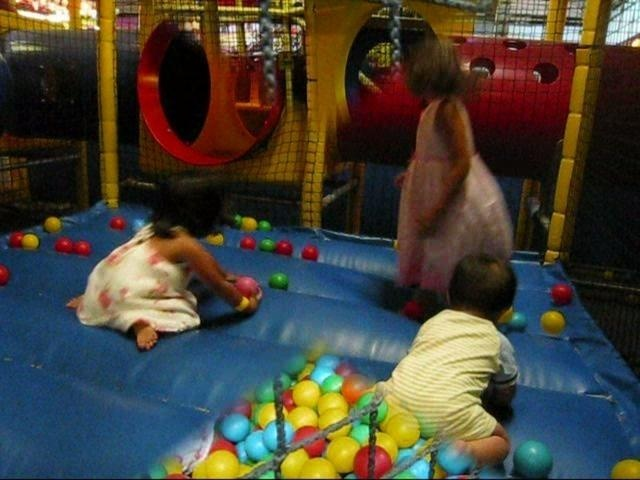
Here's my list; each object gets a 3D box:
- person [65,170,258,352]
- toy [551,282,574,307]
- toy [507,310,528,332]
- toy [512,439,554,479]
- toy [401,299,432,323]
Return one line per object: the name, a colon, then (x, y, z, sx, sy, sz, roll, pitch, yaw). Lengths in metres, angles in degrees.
person: (-0.797, 0.184, 2.340, 0.753, 0.620, 0.802, -3, 27, -39)
toy: (1.408, 0.319, 2.769, 0.113, 0.153, 0.120, 0, 6, -2)
toy: (1.044, 0.430, 2.456, 0.090, 0.118, 0.096, 3, 8, 5)
toy: (0.725, 0.747, 1.653, 0.108, 0.119, 0.137, -18, -16, 5)
toy: (0.503, 0.366, 2.426, 0.099, 0.061, 0.104, 15, 37, 20)
